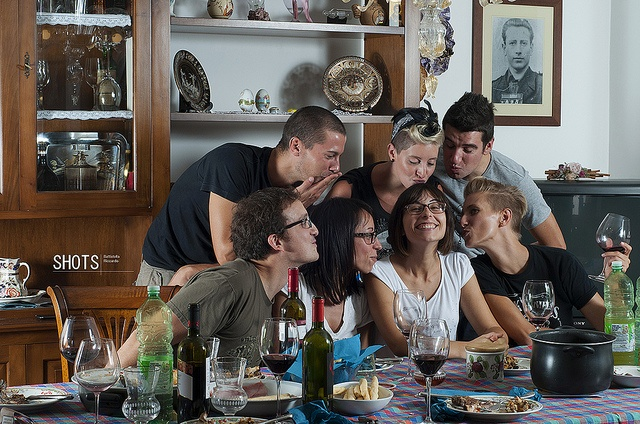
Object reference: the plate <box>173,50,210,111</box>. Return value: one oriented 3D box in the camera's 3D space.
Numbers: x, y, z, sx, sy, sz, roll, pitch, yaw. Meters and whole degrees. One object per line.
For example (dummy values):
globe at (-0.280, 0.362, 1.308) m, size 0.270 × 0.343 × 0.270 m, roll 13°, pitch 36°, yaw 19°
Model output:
plate at (-0.803, -0.803, 3.566) m, size 0.078 × 0.352 × 0.339 m, roll -11°, pitch 21°, yaw 26°

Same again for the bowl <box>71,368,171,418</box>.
bowl at (-0.645, 0.587, 1.795) m, size 0.188 × 0.066 × 0.183 m, roll 3°, pitch -4°, yaw 0°

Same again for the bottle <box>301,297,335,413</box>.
bottle at (-0.011, 0.436, 1.774) m, size 0.101 × 0.366 × 0.132 m, roll -2°, pitch 1°, yaw 0°

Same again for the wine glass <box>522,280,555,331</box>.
wine glass at (0.887, 0.384, 2.333) m, size 0.116 × 0.220 × 0.161 m, roll -2°, pitch 1°, yaw 19°

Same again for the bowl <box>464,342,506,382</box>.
bowl at (0.603, 0.530, 2.103) m, size 0.124 × 0.115 × 0.128 m, roll 1°, pitch -2°, yaw 0°

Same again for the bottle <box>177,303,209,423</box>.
bottle at (-0.394, 0.454, 1.745) m, size 0.116 × 0.280 × 0.079 m, roll -1°, pitch 2°, yaw 40°

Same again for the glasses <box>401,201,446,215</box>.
glasses at (0.491, -0.016, 2.684) m, size 0.190 × 0.058 × 0.059 m, roll -2°, pitch 1°, yaw 8°

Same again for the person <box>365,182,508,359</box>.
person at (0.468, 0.246, 2.959) m, size 0.705 × 0.942 × 0.716 m, roll 0°, pitch 1°, yaw -23°

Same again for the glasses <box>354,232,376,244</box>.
glasses at (0.210, 0.121, 2.608) m, size 0.112 × 0.057 × 0.030 m, roll -3°, pitch 2°, yaw -35°

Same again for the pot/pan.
pot/pan at (0.863, 0.510, 1.967) m, size 0.201 × 0.126 × 0.267 m, roll 0°, pitch -2°, yaw 9°

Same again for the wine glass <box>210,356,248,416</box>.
wine glass at (-0.275, 0.531, 1.748) m, size 0.113 × 0.136 × 0.128 m, roll -3°, pitch 1°, yaw -19°

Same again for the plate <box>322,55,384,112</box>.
plate at (0.210, -0.829, 3.798) m, size 0.363 × 0.390 × 0.084 m, roll -6°, pitch 4°, yaw -16°

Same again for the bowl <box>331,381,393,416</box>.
bowl at (0.141, 0.606, 1.867) m, size 0.192 × 0.054 × 0.147 m, roll -2°, pitch 1°, yaw 4°

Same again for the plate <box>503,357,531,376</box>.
plate at (0.763, 0.590, 2.195) m, size 0.078 × 0.017 × 0.081 m, roll -2°, pitch 8°, yaw 35°

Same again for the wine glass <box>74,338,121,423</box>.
wine glass at (-0.662, 0.462, 1.705) m, size 0.119 × 0.197 × 0.071 m, roll -3°, pitch 1°, yaw -21°

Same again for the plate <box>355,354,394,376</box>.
plate at (0.193, 0.582, 2.167) m, size 0.087 × 0.013 × 0.089 m, roll -4°, pitch 8°, yaw 32°
